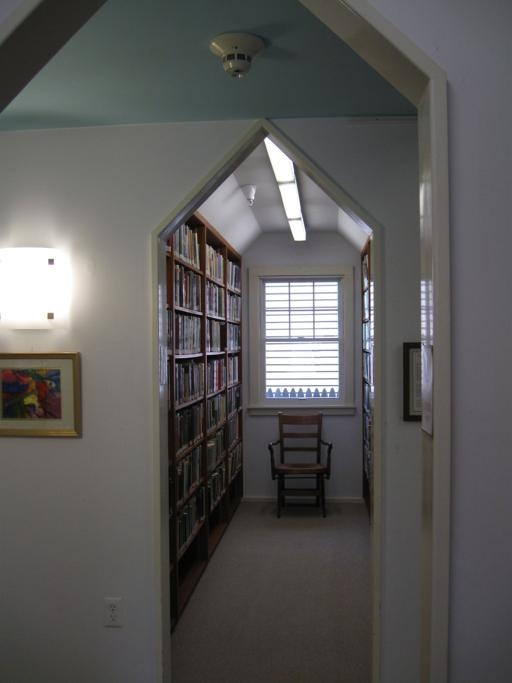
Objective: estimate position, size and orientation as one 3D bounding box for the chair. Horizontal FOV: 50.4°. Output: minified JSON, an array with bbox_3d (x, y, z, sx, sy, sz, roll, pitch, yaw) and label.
[{"bbox_3d":[0.415,1.124,5.007,0.599,1.348,0.665,0,-9,0],"label":"chair"}]
